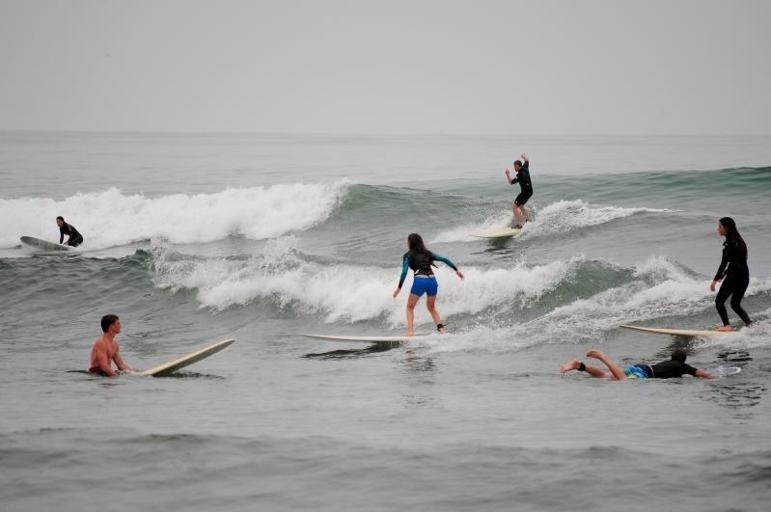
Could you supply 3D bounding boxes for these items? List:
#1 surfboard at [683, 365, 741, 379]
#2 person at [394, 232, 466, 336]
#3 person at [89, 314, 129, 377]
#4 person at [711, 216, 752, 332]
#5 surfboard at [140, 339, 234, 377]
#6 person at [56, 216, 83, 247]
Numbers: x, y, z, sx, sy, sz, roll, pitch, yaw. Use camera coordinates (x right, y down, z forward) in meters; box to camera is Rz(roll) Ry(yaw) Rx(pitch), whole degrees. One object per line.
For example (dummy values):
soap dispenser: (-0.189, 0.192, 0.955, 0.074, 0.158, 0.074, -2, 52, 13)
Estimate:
surfboard: (5.439, 1.871, 12.388, 0.603, 0.081, 0.702, 2, 6, 26)
person: (0.739, 0.538, 15.445, 0.892, 2.024, 1.437, 0, 7, 2)
person: (-4.671, 1.505, 12.980, 0.568, 0.989, 0.472, -7, 9, -42)
person: (6.370, 0.301, 14.025, 0.678, 2.041, 0.806, 2, 8, 24)
surfboard: (-3.695, 1.916, 14.317, 0.183, 0.250, 2.252, 34, 25, 26)
person: (-10.220, -0.776, 24.826, 0.621, 1.039, 2.316, -4, 7, -23)
